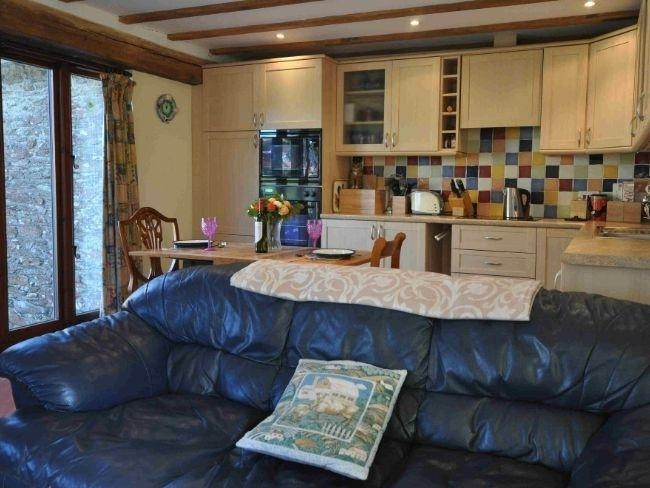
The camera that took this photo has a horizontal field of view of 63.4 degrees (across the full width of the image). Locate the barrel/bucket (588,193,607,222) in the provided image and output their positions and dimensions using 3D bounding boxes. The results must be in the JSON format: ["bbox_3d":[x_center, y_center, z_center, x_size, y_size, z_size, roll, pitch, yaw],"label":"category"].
[{"bbox_3d":[2.468,-0.336,4.770,0.222,0.297,0.230,-3,0,0],"label":"barrel/bucket"}]

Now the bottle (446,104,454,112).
[{"bbox_3d":[1.214,-1.331,5.121,0.068,0.075,0.067,-5,7,-4],"label":"bottle"}]

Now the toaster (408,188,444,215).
[{"bbox_3d":[0.996,-0.430,5.279,0.428,0.308,0.230,6,12,36],"label":"toaster"}]

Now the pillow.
[{"bbox_3d":[-0.002,0.629,2.015,0.519,0.244,0.433,3,11,21],"label":"pillow"}]

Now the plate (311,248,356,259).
[{"bbox_3d":[0.065,0.061,3.709,0.306,0.040,0.259,-5,11,-25],"label":"plate"}]

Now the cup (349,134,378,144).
[{"bbox_3d":[0.386,-1.076,5.422,0.203,0.080,0.118,2,4,25],"label":"cup"}]

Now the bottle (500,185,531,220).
[{"bbox_3d":[1.690,-0.383,4.862,0.337,0.325,0.205,-2,0,7],"label":"bottle"}]

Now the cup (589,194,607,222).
[{"bbox_3d":[2.465,-0.341,4.786,0.164,0.235,0.157,-1,11,0],"label":"cup"}]
